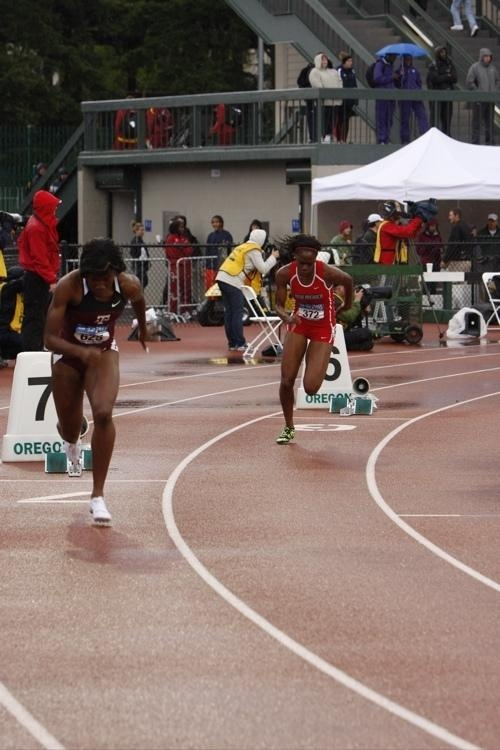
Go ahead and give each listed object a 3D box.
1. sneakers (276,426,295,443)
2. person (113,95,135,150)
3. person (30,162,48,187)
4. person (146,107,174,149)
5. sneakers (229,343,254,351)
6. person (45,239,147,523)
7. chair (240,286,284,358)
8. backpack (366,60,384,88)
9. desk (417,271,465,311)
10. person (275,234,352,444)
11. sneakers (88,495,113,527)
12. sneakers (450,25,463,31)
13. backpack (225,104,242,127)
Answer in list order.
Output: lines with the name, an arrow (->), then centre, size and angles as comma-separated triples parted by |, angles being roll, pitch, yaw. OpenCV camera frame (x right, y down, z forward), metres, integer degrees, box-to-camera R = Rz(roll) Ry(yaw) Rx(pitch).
sneakers -> 0.381, 0.654, 9.268 | 0.189, 0.192, 0.276 | 3, 3, -1
person -> -4.569, -8.919, 31.233 | 0.999, 1.293, 0.400 | 3, 4, 12
person -> -8.344, -7.930, 34.109 | 0.630, 1.141, 2.611 | 2, 3, -14
person -> -3.273, -8.767, 30.718 | 1.130, 1.341, 0.319 | 5, 4, 39
sneakers -> -0.196, -0.583, 18.691 | 0.479, 0.212, 0.191 | -1, 5, 1
person -> -1.094, 0.062, 6.023 | 0.654, 1.905, 1.245 | 2, 3, -9
chair -> 0.507, -1.072, 19.118 | 1.409, 1.866, 1.166 | -1, 4, -6
backpack -> 4.060, -9.646, 27.692 | 0.625, 1.039, 0.386 | 3, 3, 6
desk -> 4.996, -2.201, 22.692 | 0.775, 0.982, 1.399 | 3, 3, 28
person -> 0.641, -0.352, 9.315 | 0.818, 2.217, 0.657 | 1, 4, -35
sneakers -> -0.995, 0.910, 5.752 | 0.096, 0.113, 0.265 | -3, 0, -13
sneakers -> 7.610, -12.711, 31.615 | 0.434, 0.248, 0.197 | 11, 47, 2
backpack -> -0.571, -8.747, 29.323 | 0.680, 0.789, 0.191 | 4, 3, 33
